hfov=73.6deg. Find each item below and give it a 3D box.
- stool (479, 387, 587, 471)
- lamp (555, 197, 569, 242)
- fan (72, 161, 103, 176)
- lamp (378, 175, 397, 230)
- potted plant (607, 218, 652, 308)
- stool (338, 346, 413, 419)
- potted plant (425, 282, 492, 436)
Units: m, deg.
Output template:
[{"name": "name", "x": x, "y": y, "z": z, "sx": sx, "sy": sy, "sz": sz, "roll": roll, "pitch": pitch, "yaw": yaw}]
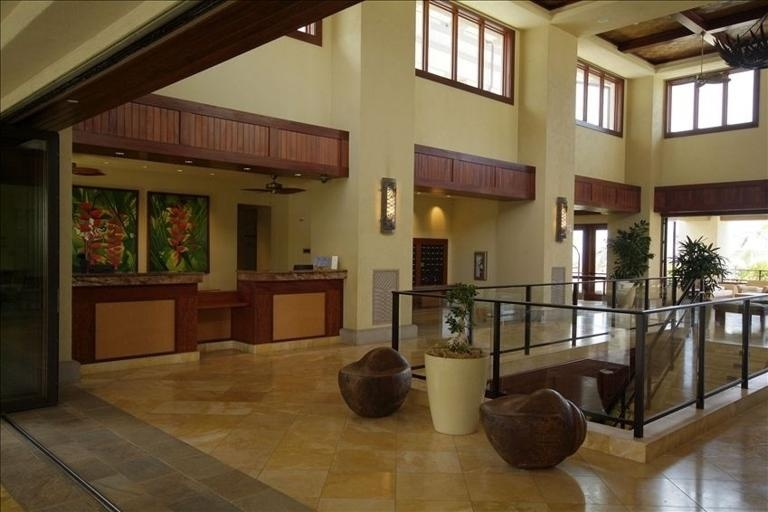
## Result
[{"name": "stool", "x": 1.489, "y": 1.694, "z": 5.204, "sx": 0.910, "sy": 0.590, "sz": 0.784, "roll": -1, "pitch": -3, "yaw": -8}, {"name": "lamp", "x": 4.762, "y": -0.967, "z": 13.726, "sx": 0.539, "sy": 1.211, "sz": 0.182, "roll": -5, "pitch": 9, "yaw": -40}, {"name": "fan", "x": -5.967, "y": -1.755, "z": 10.255, "sx": 0.421, "sy": 0.304, "sz": 2.822, "roll": -3, "pitch": 7, "yaw": -31}, {"name": "lamp", "x": 0.068, "y": -1.028, "z": 10.378, "sx": 0.358, "sy": 1.144, "sz": 0.184, "roll": -6, "pitch": 10, "yaw": -43}, {"name": "potted plant", "x": 7.935, "y": 0.154, "z": 16.445, "sx": 1.205, "sy": 2.601, "sz": 0.954, "roll": -3, "pitch": 3, "yaw": -28}, {"name": "stool", "x": -0.082, "y": 1.560, "z": 6.507, "sx": 0.879, "sy": 0.845, "sz": 1.097, "roll": 3, "pitch": 6, "yaw": 32}, {"name": "potted plant", "x": 0.845, "y": 1.174, "z": 6.073, "sx": 0.712, "sy": 1.663, "sz": 1.210, "roll": 2, "pitch": 7, "yaw": 10}]
